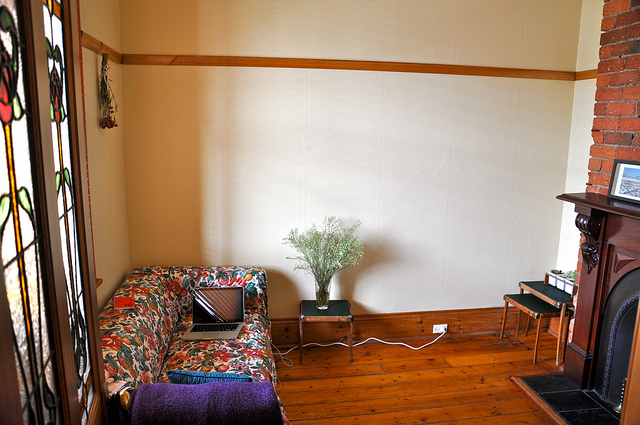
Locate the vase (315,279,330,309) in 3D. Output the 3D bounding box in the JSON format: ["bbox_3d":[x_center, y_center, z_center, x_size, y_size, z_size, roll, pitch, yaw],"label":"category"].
[{"bbox_3d":[0.020,0.657,3.628,0.161,0.258,0.161,-4,-14,18],"label":"vase"}]

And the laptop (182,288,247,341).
[{"bbox_3d":[-0.770,0.718,3.167,0.432,0.366,0.274,-2,-83,-10],"label":"laptop"}]

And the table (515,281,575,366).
[{"bbox_3d":[1.899,0.911,3.826,0.511,0.673,0.642,0,-83,-9],"label":"table"}]
